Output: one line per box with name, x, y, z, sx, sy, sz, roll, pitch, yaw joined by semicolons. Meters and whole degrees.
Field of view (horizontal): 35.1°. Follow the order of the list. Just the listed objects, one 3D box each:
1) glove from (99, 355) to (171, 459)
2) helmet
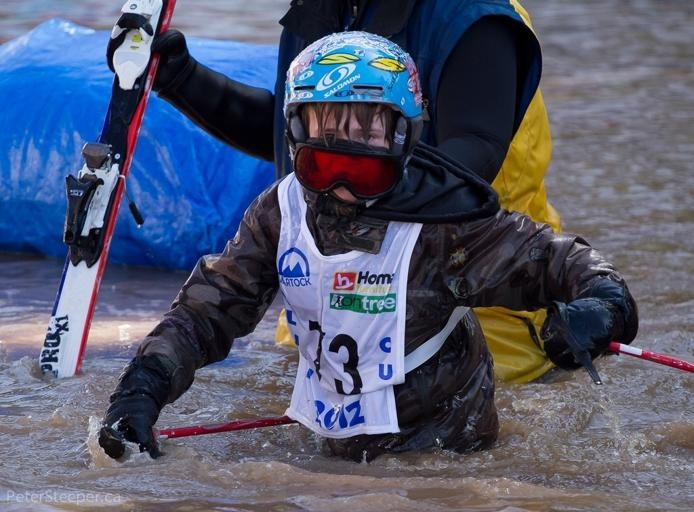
glove;-0.658;0.471;3.403;0.177;0.284;0.207;8;16;-6
helmet;0.046;-0.498;3.479;0.420;0.340;0.492;9;12;33
